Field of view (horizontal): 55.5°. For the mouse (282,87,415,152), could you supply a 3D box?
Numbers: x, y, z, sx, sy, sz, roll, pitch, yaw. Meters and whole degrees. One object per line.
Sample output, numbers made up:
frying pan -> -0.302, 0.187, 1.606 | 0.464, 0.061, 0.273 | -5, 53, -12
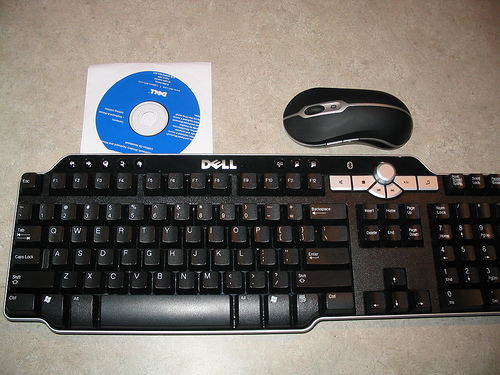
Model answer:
mouse -> 0.228, -0.161, 1.113 | 0.298, 0.141, 0.071 | 2, -17, -1
